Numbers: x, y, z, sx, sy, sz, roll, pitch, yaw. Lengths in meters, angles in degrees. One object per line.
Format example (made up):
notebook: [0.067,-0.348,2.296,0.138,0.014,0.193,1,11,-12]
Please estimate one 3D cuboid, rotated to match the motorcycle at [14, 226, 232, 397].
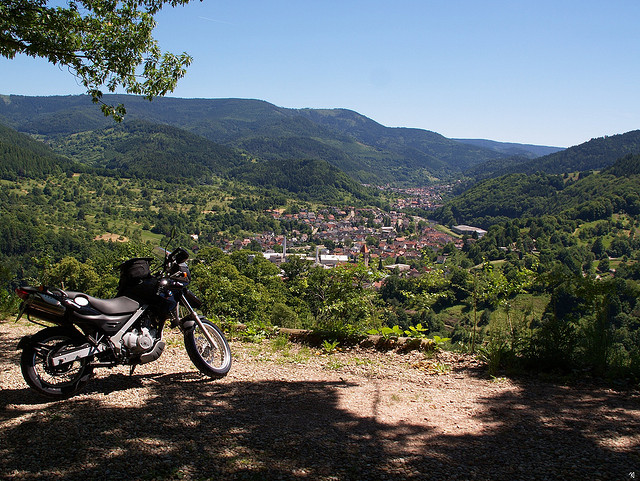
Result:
motorcycle: [-2.636,1.061,7.375,3.010,1.865,1.280,3,-17,-43]
